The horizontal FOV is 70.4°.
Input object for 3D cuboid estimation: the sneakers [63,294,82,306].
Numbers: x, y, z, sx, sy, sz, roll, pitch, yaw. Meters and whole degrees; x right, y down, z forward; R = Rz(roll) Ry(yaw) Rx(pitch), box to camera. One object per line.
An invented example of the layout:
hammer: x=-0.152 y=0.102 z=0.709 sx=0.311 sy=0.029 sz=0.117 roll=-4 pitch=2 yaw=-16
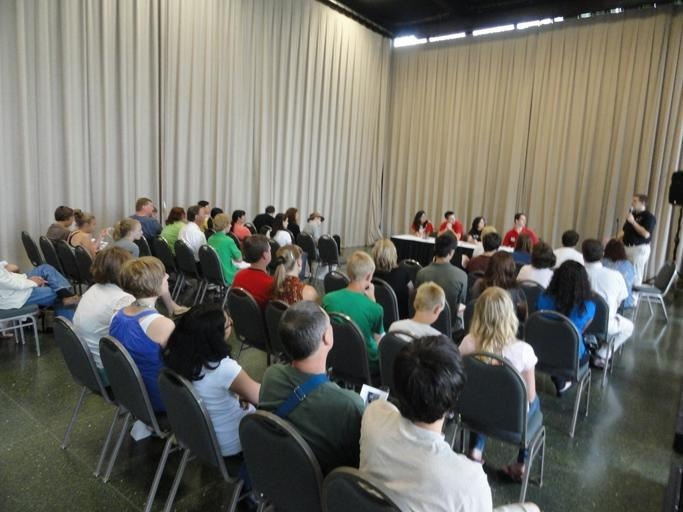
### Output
sneakers: x=-2.633 y=0.430 z=4.683 sx=0.068 sy=0.095 sz=0.207 roll=3 pitch=13 yaw=21

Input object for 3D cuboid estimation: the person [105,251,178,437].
person: x=-1.307 y=0.635 z=3.495 sx=0.397 sy=1.317 sz=0.687 roll=6 pitch=14 yaw=16

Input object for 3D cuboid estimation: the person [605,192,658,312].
person: x=4.559 y=-0.098 z=7.585 sx=0.375 sy=1.746 sz=0.519 roll=-1 pitch=13 yaw=1

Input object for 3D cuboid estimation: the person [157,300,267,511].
person: x=-0.786 y=0.804 z=2.885 sx=0.543 sy=1.012 sz=0.198 roll=0 pitch=9 yaw=-1

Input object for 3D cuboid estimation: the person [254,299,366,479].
person: x=-0.145 y=0.692 z=2.582 sx=0.624 sy=0.808 sz=0.375 roll=7 pitch=11 yaw=34
